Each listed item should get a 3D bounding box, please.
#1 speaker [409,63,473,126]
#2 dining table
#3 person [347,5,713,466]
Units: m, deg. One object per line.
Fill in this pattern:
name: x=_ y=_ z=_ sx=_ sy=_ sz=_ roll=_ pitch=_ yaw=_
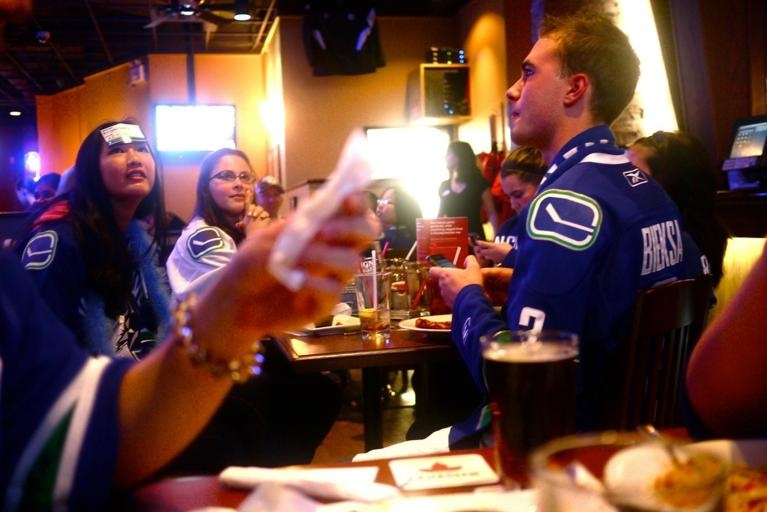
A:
speaker: x=0.703 y=-2.014 z=7.657 sx=0.844 sy=0.593 sz=0.759 roll=-2 pitch=9 yaw=4
dining table: x=-0.048 y=0.526 z=2.134 sx=0.603 sy=0.441 sz=0.604 roll=-2 pitch=3 yaw=-7
person: x=0.460 y=0.011 z=2.112 sx=1.143 sy=1.452 sz=0.864 roll=2 pitch=7 yaw=27
